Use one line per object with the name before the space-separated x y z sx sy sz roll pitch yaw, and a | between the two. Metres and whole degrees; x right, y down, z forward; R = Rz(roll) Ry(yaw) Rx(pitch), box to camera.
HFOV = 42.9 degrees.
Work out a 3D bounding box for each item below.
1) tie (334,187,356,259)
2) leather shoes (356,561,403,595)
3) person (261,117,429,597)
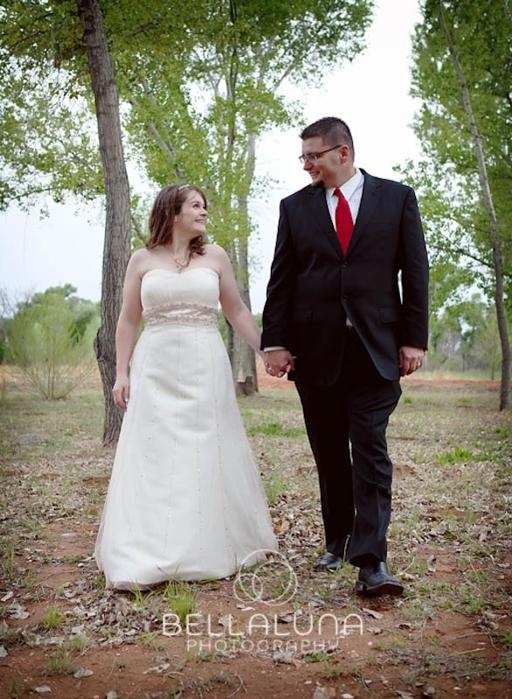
tie | 0.454 -0.671 3.413 0.083 0.355 0.154 -1 4 -35
leather shoes | 0.571 1.135 3.218 0.126 0.136 0.278 9 -20 -24
person | 0.436 0.018 3.444 0.856 2.482 0.600 2 3 26
